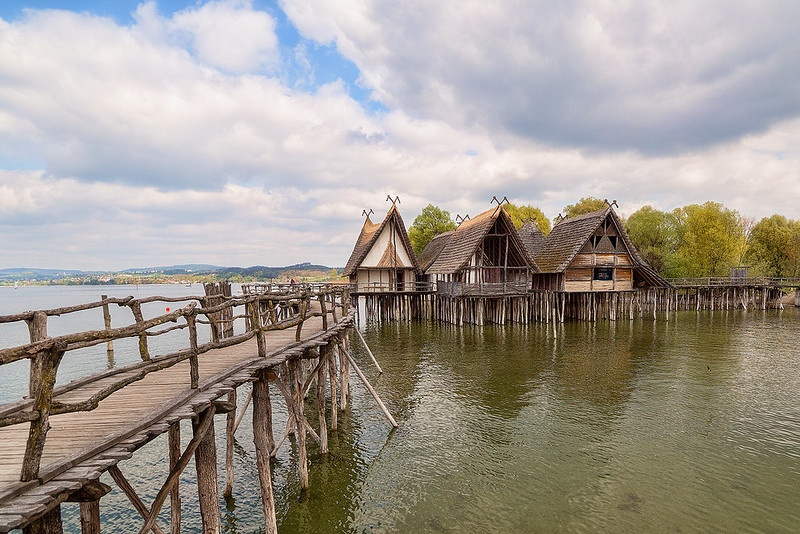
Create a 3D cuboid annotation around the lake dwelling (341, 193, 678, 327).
[{"bbox_3d":[7.668,-0.183,41.793,21.418,8.806,7.095,0,1,2],"label":"lake dwelling"}]
